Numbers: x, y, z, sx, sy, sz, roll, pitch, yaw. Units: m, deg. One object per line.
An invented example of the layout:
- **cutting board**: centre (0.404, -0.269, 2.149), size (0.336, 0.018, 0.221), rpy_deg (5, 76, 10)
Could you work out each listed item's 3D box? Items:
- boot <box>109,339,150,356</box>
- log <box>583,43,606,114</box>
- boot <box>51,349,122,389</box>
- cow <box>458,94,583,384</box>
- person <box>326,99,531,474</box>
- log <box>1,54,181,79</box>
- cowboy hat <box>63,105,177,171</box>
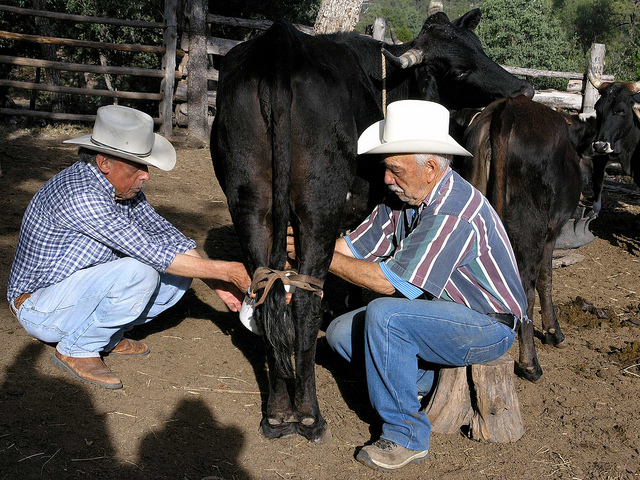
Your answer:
- **boot**: centre (-1.319, 0.764, 4.599), size (0.273, 0.092, 0.105), rpy_deg (-4, 15, -12)
- **log**: centre (4.751, -2.650, 11.232), size (0.341, 1.392, 0.308), rpy_deg (11, 35, 27)
- **boot**: centre (-1.520, 0.853, 4.299), size (0.497, 0.171, 0.143), rpy_deg (8, 19, 12)
- **cow**: centre (1.991, -0.123, 6.366), size (1.081, 2.220, 3.822), rpy_deg (8, 5, 24)
- **person**: centre (0.619, 0.289, 4.002), size (1.200, 2.157, 0.914), rpy_deg (12, 21, 18)
- **log**: centre (-3.573, -2.647, 10.063), size (2.345, 0.187, 0.449), rpy_deg (-1, 18, -16)
- **cowboy hat**: centre (-1.240, -0.661, 4.184), size (0.603, 0.242, 0.473), rpy_deg (17, 17, 1)
